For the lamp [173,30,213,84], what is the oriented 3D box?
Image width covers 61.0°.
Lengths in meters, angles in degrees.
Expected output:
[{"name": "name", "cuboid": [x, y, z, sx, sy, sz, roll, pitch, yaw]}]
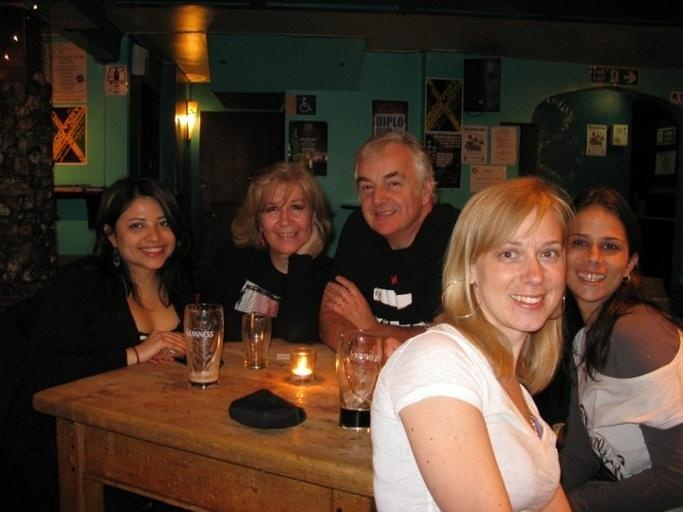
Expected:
[{"name": "lamp", "cuboid": [-1.755, -2.365, 6.794, 0.532, 0.135, 0.578, -3, -9, 5]}]

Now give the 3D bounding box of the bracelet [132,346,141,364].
[{"name": "bracelet", "cuboid": [-0.941, 0.452, 2.650, 0.059, 0.060, 0.016, 9, 4, 27]}]
